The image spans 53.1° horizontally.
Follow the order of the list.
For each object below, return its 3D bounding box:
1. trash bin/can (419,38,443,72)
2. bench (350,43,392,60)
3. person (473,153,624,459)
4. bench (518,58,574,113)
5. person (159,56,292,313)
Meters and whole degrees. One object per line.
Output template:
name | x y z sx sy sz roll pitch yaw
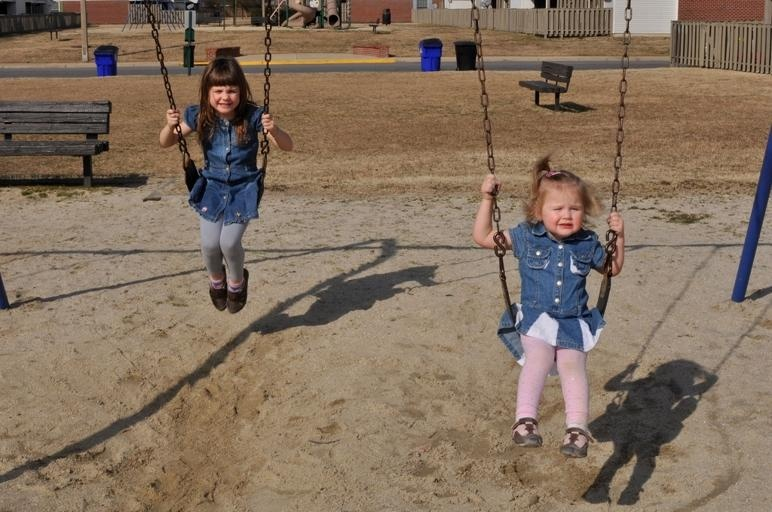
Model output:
trash bin/can | 1.341 -5.863 22.769 0.693 0.854 0.619 -8 24 -16
bench | -0.616 -7.964 30.056 1.328 0.343 4.643 0 16 -3
person | 1.090 0.253 4.963 0.940 1.856 1.227 2 0 4
bench | 3.421 -3.721 16.948 0.881 0.948 1.842 -4 18 -6
person | -1.253 -0.478 6.068 1.177 1.994 0.754 4 13 1
